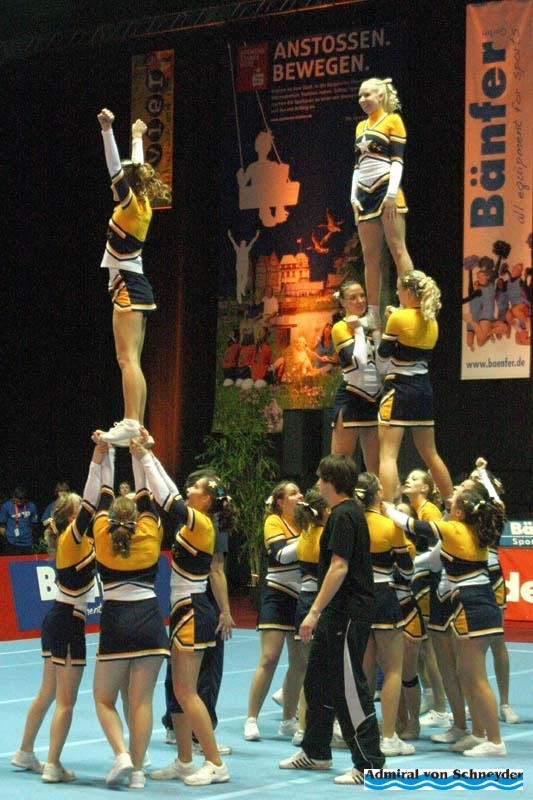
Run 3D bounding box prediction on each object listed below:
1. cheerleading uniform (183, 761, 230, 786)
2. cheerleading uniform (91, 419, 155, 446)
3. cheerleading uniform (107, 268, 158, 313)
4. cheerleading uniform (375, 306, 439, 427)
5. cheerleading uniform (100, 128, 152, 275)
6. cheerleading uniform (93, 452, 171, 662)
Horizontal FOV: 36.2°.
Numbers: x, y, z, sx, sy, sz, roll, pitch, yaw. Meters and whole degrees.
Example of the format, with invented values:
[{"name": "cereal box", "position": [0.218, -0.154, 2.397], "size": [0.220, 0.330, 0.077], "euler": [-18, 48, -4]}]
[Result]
[{"name": "cheerleading uniform", "position": [-0.273, 1.710, 3.728], "size": [0.204, 0.134, 0.148], "euler": [-1, 2, -8]}, {"name": "cheerleading uniform", "position": [-0.745, 0.179, 4.292], "size": [0.393, 0.192, 0.146], "euler": [0, 1, -21]}, {"name": "cheerleading uniform", "position": [-0.827, -0.644, 5.003], "size": [0.214, 0.276, 0.386], "euler": [2, -2, -1]}, {"name": "cheerleading uniform", "position": [0.805, -0.177, 4.756], "size": [0.326, 0.687, 0.343], "euler": [0, 2, 14]}, {"name": "cheerleading uniform", "position": [-0.827, -1.151, 4.817], "size": [0.281, 0.787, 0.427], "euler": [-1, 2, -10]}, {"name": "cheerleading uniform", "position": [-0.631, 0.710, 3.764], "size": [0.328, 0.889, 0.486], "euler": [-1, 2, -12]}]
